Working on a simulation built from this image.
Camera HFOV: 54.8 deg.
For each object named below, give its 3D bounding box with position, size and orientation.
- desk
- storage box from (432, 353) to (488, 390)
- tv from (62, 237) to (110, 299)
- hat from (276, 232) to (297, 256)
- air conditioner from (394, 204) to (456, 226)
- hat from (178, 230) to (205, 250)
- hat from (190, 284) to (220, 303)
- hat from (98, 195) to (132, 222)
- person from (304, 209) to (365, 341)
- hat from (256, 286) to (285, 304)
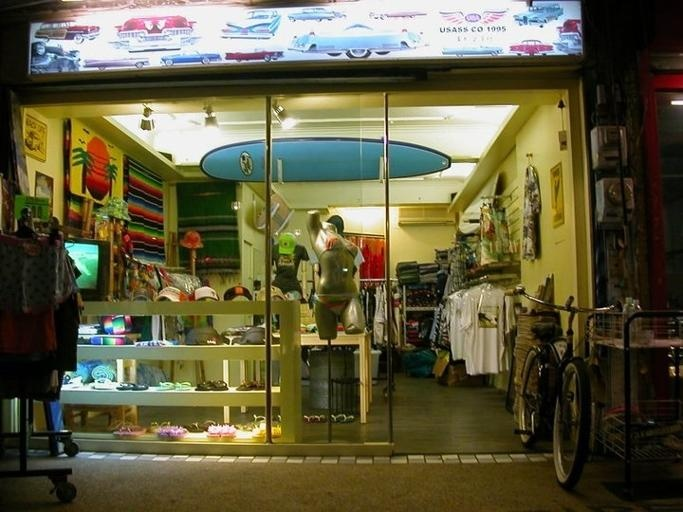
[{"bbox_3d":[-0.144,1.215,6.770,0.878,0.907,0.936,-2,-8,8],"label":"desk"},{"bbox_3d":[1.637,1.541,9.077,0.369,0.389,0.518,0,-6,1],"label":"storage box"},{"bbox_3d":[-2.210,0.121,5.699,0.426,0.671,0.323,-2,-12,-12],"label":"tv"},{"bbox_3d":[-0.543,-0.119,6.529,0.139,0.134,0.229,3,30,0],"label":"hat"},{"bbox_3d":[1.458,-0.720,11.552,0.921,0.328,0.383,-1,6,4],"label":"air conditioner"},{"bbox_3d":[-2.031,-0.212,9.034,0.293,0.193,0.311,1,4,0],"label":"hat"},{"bbox_3d":[-1.356,0.368,6.518,0.215,0.177,0.304,1,-17,-11],"label":"hat"},{"bbox_3d":[-2.386,-0.500,6.915,0.284,0.138,0.394,3,-10,-27],"label":"hat"},{"bbox_3d":[-0.044,0.174,5.711,0.544,1.125,0.400,1,2,15],"label":"person"},{"bbox_3d":[-0.631,0.348,5.938,0.145,0.121,0.221,2,-16,-24],"label":"hat"}]
